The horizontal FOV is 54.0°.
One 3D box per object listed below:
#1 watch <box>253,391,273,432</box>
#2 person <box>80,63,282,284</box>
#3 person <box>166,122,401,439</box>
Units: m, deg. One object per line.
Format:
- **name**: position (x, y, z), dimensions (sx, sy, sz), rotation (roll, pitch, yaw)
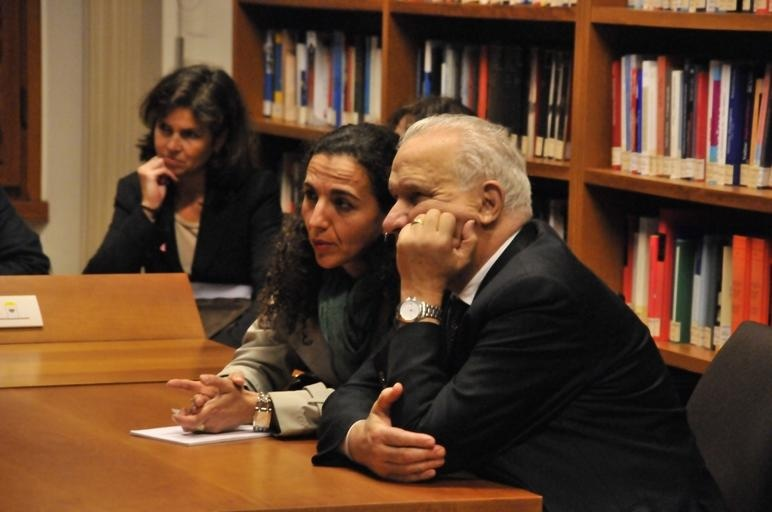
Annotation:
- **watch**: position (-0.333, 0.419, 2.043), dimensions (0.059, 0.098, 0.085), rotation (4, 29, -9)
- **person**: position (-1.011, -0.322, 3.762), dimensions (0.931, 1.262, 0.864), rotation (0, 15, -13)
- **person**: position (-0.226, 0.087, 2.298), dimensions (0.744, 0.843, 0.561), rotation (-2, 8, -39)
